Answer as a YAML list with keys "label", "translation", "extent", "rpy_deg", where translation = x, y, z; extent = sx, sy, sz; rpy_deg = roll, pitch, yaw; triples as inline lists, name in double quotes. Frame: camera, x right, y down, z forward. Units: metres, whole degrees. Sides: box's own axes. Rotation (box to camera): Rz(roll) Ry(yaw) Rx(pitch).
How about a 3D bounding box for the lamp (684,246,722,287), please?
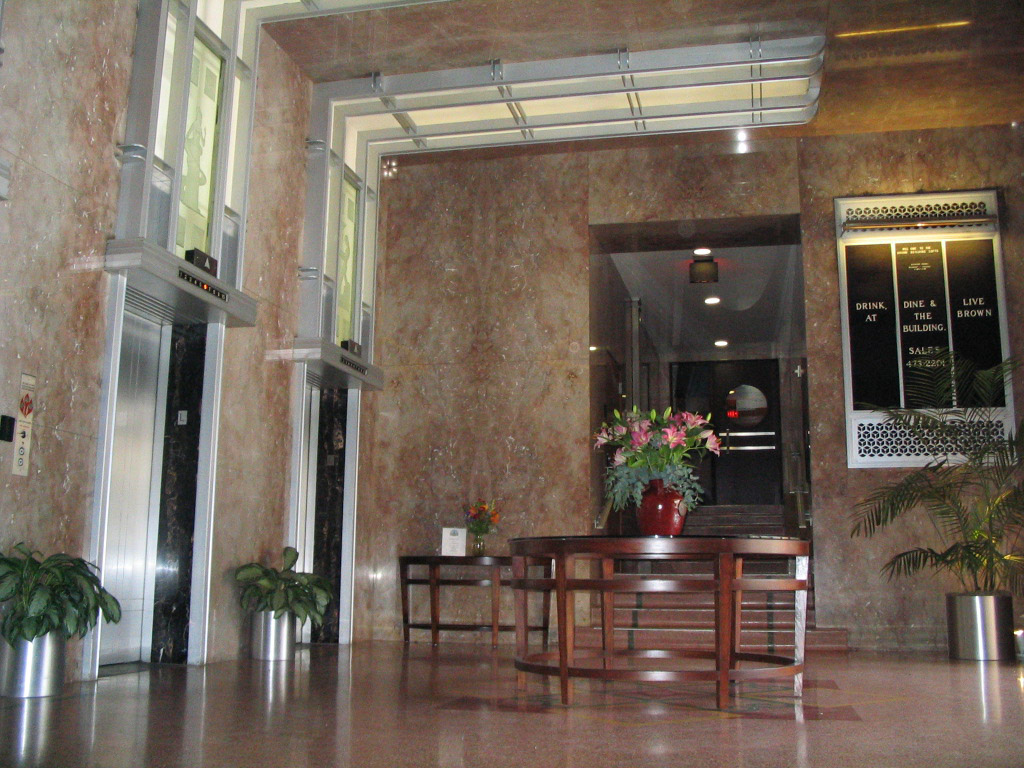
- label: "lamp"
  translation: [2.393, -1.466, 10.513]
  extent: [0.451, 0.582, 0.549]
  rpy_deg: [0, -10, 1]

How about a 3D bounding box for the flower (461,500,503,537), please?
- label: "flower"
  translation: [-0.294, 1.236, 8.033]
  extent: [0.333, 0.383, 0.351]
  rpy_deg: [-1, -1, 12]

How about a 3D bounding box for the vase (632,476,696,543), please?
- label: "vase"
  translation: [0.881, 0.772, 5.313]
  extent: [0.251, 0.306, 0.258]
  rpy_deg: [3, 0, 41]

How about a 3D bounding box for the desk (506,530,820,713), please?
- label: "desk"
  translation: [1.088, 1.758, 7.049]
  extent: [2.644, 1.053, 5.521]
  rpy_deg: [-5, -13, 19]

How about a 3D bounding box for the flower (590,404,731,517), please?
- label: "flower"
  translation: [0.872, 0.505, 5.553]
  extent: [0.761, 0.893, 0.833]
  rpy_deg: [4, -14, 26]

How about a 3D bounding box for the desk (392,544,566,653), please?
- label: "desk"
  translation: [-0.383, 2.035, 8.088]
  extent: [1.381, 0.910, 1.187]
  rpy_deg: [0, -9, 10]

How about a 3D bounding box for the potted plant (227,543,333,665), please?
- label: "potted plant"
  translation: [-1.625, 1.593, 6.376]
  extent: [0.683, 0.768, 0.726]
  rpy_deg: [0, -5, 9]
